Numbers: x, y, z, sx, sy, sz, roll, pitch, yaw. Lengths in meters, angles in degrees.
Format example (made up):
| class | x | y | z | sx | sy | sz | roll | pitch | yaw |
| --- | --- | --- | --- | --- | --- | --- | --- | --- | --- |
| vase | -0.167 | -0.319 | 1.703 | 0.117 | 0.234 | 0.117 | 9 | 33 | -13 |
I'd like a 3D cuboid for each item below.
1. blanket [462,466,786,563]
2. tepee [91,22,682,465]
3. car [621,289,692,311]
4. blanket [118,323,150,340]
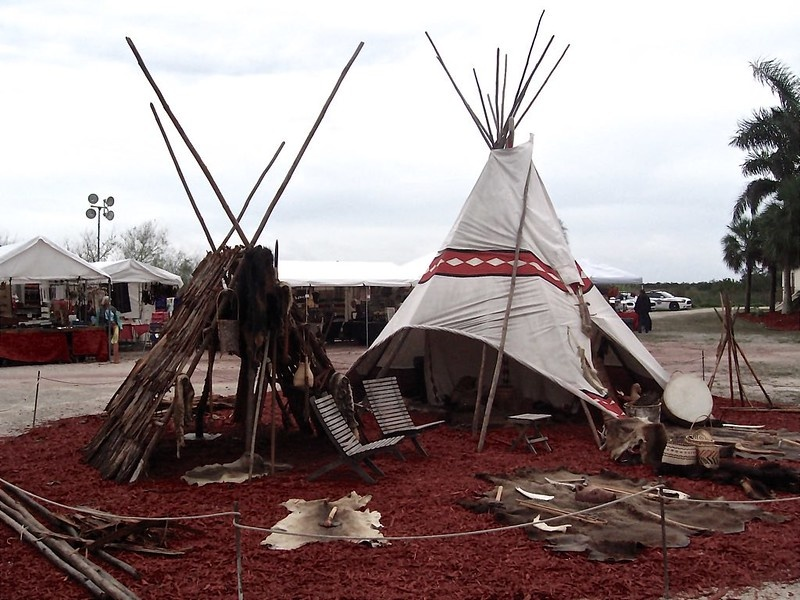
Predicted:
| class | x | y | z | sx | sy | sz | roll | pitch | yaw |
| --- | --- | --- | --- | --- | --- | --- | --- | --- | --- |
| blanket | 1.841 | 1.874 | 5.092 | 2.518 | 0.191 | 1.832 | -1 | 0 | 5 |
| tepee | 1.365 | -1.164 | 9.250 | 5.947 | 3.992 | 4.727 | 7 | 17 | -9 |
| car | 16.645 | 0.054 | 36.335 | 2.973 | 0.869 | 1.716 | -2 | 4 | 1 |
| blanket | -9.353 | 1.119 | 19.920 | 0.749 | 0.441 | 0.710 | -1 | -2 | -16 |
